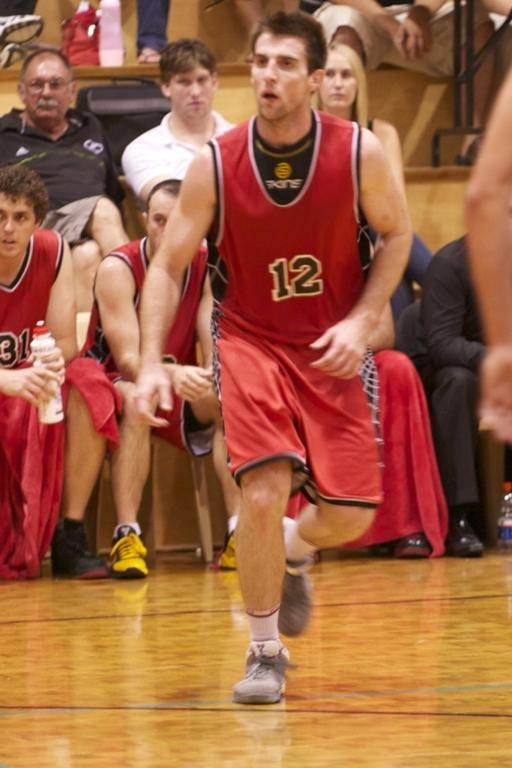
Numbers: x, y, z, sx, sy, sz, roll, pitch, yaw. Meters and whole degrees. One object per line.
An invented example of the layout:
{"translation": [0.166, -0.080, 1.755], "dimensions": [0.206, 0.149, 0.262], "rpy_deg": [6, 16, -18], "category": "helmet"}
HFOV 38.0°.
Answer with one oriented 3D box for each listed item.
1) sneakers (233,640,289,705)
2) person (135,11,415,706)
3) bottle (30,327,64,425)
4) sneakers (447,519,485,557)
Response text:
{"translation": [0.008, 0.516, 1.293], "dimensions": [0.089, 0.101, 0.169], "rpy_deg": [-2, 14, 5], "category": "sneakers"}
{"translation": [-0.015, -0.066, 1.417], "dimensions": [0.445, 1.264, 0.645], "rpy_deg": [5, 17, 28], "category": "person"}
{"translation": [-0.739, -0.035, 2.621], "dimensions": [0.087, 0.374, 0.176], "rpy_deg": [-7, 15, -15], "category": "bottle"}
{"translation": [0.807, 0.607, 2.889], "dimensions": [0.131, 0.160, 0.144], "rpy_deg": [1, 15, 15], "category": "sneakers"}
